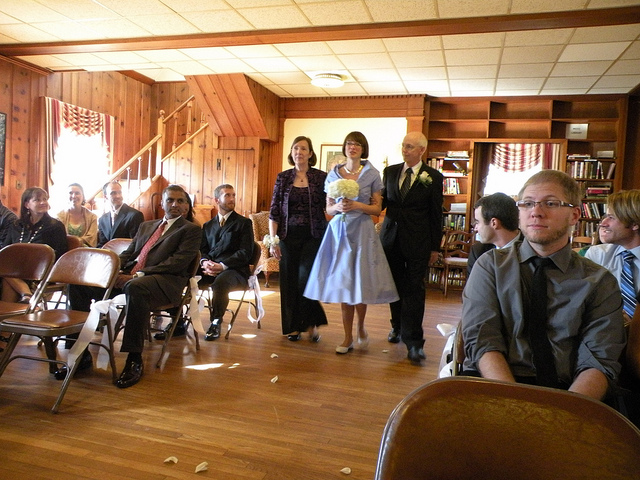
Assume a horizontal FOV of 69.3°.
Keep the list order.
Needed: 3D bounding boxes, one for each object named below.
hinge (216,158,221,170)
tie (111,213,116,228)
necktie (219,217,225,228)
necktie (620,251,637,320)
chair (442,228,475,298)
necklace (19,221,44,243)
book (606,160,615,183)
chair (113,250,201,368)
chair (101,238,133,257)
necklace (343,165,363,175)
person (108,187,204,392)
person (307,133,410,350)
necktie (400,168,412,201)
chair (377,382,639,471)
[{"bbox_3d":[-1.910,-1.411,8.724,0.088,0.190,0.017,3,5,3],"label":"hinge"},{"bbox_3d":[-2.305,-0.203,5.169,0.028,0.113,0.098,7,26,-10],"label":"tie"},{"bbox_3d":[-1.029,-0.178,4.868,0.026,0.069,0.059,23,-1,-11],"label":"necktie"},{"bbox_3d":[1.597,0.221,2.401,0.080,0.289,0.381,6,6,33],"label":"necktie"},{"bbox_3d":[1.964,0.330,6.677,0.549,1.065,0.591,5,7,6],"label":"chair"},{"bbox_3d":[-2.776,-0.072,4.448,0.244,0.191,0.111,4,5,20],"label":"necklace"},{"bbox_3d":[4.758,-1.139,7.637,0.065,0.257,0.264,14,12,31],"label":"book"},{"bbox_3d":[-1.287,0.546,3.954,0.779,0.912,0.768,-11,-4,17],"label":"chair"},{"bbox_3d":[-1.919,0.053,4.411,0.232,0.216,0.200,2,4,2],"label":"chair"},{"bbox_3d":[0.292,-0.605,4.089,0.106,0.097,0.023,-3,4,3],"label":"necklace"},{"bbox_3d":[-1.307,0.281,3.692,0.704,1.417,1.092,1,5,-15],"label":"person"},{"bbox_3d":[0.368,0.042,4.288,0.787,1.965,1.120,4,5,9],"label":"person"},{"bbox_3d":[0.757,-0.494,4.086,0.082,0.274,0.090,7,6,37],"label":"necktie"},{"bbox_3d":[0.422,0.441,1.056,0.350,0.223,0.325,2,-41,5],"label":"chair"}]
